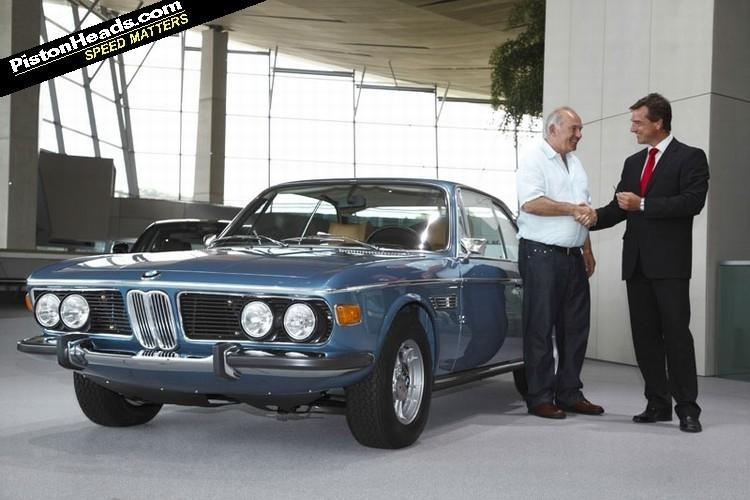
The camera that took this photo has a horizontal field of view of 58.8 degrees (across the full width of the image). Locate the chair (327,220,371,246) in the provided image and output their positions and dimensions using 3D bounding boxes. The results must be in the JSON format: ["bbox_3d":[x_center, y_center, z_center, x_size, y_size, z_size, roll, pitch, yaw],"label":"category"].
[{"bbox_3d":[-0.263,-0.182,6.110,0.209,0.288,0.249,0,-19,20],"label":"chair"}]

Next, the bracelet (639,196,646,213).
[{"bbox_3d":[2.387,-0.411,5.907,0.038,0.104,0.056,1,1,17],"label":"bracelet"}]

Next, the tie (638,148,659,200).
[{"bbox_3d":[2.520,-0.730,6.098,0.089,0.583,0.079,10,-28,19],"label":"tie"}]

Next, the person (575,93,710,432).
[{"bbox_3d":[2.552,0.068,6.055,0.847,2.962,0.496,1,1,22],"label":"person"}]
